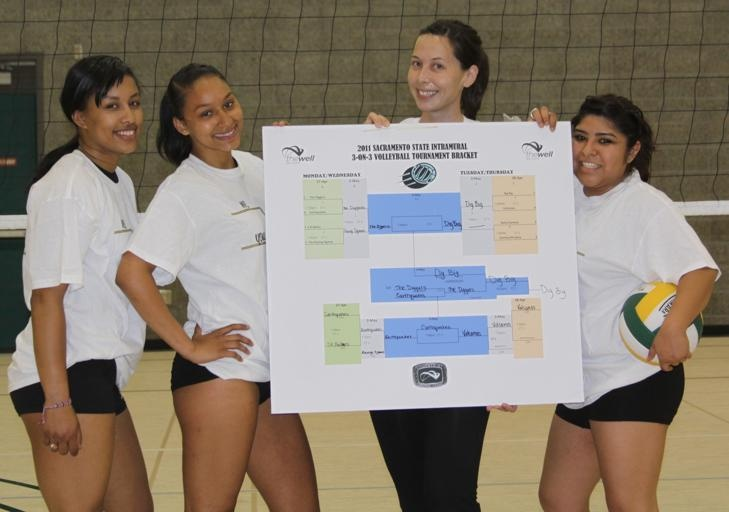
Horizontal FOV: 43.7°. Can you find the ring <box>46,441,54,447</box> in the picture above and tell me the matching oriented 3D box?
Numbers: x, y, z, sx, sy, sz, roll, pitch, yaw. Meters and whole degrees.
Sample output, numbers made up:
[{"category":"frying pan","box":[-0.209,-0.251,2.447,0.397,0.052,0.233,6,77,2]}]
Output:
[{"category":"ring","box":[-1.401,0.841,4.074,0.025,0.022,0.006,2,8,0]}]
